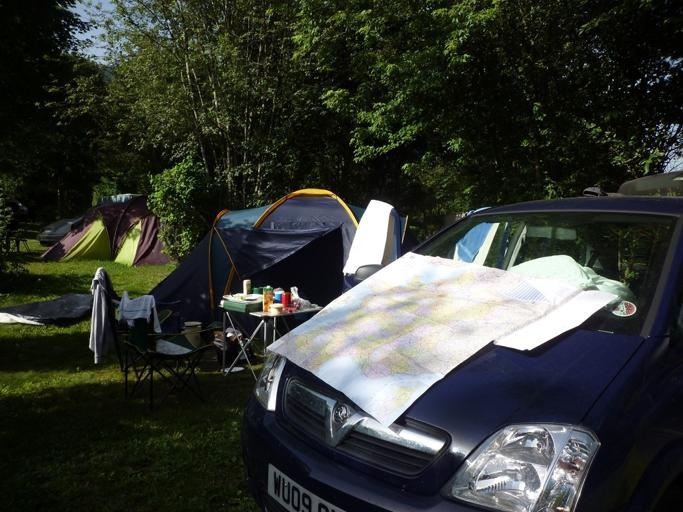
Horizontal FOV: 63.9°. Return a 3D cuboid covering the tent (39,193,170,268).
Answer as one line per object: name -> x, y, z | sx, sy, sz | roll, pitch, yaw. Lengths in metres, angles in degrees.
tent -> -7.095, -0.601, 16.666 | 2.923, 1.325, 2.559 | 2, 3, 10
